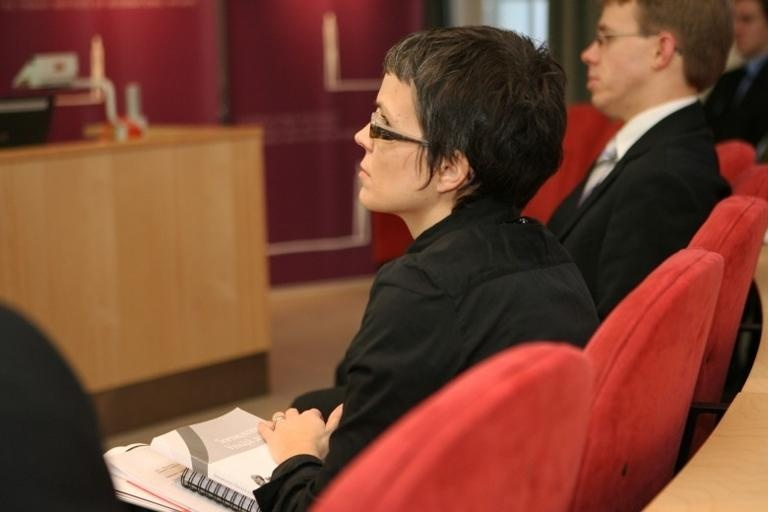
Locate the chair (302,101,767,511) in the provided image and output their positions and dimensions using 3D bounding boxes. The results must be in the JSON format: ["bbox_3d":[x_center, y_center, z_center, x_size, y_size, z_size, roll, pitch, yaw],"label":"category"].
[{"bbox_3d":[0.403,0.009,1.961,0.929,1.120,0.727,1,7,10],"label":"chair"}]
